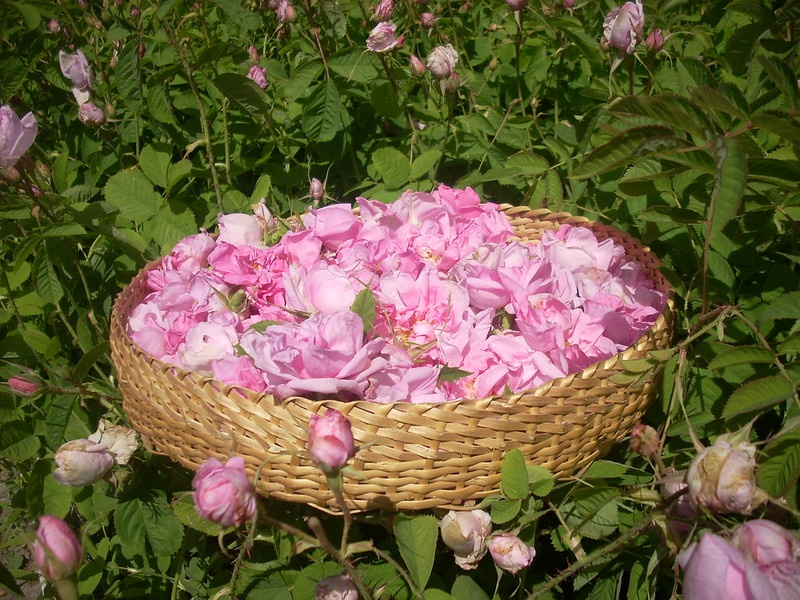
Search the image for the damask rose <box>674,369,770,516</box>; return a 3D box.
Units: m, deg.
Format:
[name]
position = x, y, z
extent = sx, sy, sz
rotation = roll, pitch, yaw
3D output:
[damask rose]
position = 0.591, 0.322, 1.694
extent = 0.150, 0.147, 0.153
rotation = 9, 57, 7
